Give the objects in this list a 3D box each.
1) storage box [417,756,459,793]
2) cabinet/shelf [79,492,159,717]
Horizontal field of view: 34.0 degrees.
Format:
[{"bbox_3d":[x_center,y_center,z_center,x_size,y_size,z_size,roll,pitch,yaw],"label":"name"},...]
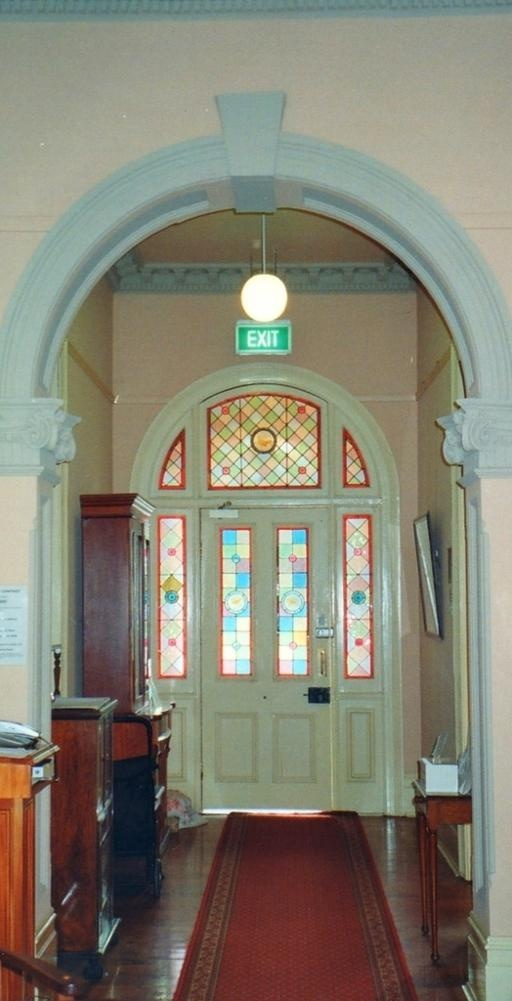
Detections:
[{"bbox_3d":[0.785,1.207,3.658,0.157,0.129,0.273,-2,-8,5],"label":"storage box"},{"bbox_3d":[-0.867,0.623,5.138,0.424,1.291,0.557,0,-7,-11],"label":"cabinet/shelf"}]
